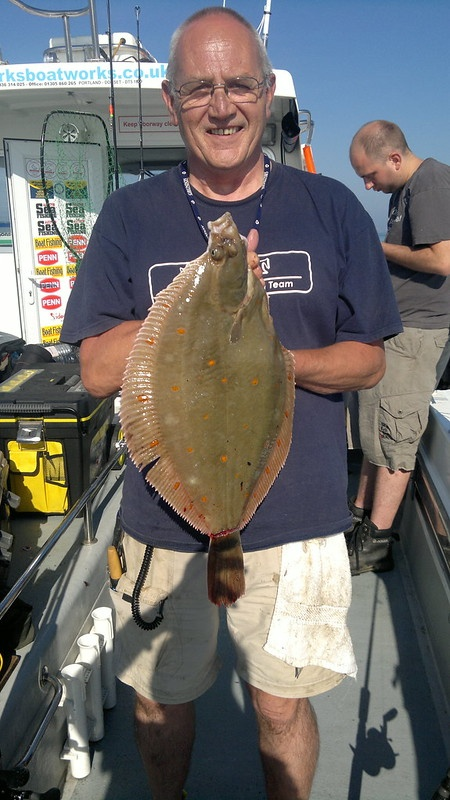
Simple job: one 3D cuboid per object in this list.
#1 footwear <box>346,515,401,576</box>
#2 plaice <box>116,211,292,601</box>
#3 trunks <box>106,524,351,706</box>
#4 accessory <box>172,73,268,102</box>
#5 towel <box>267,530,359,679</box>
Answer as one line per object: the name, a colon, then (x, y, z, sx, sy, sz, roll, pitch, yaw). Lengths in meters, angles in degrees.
footwear: (0.753, 0.788, 3.373, 0.369, 0.303, 0.154, 0, 21, 9)
plaice: (-0.028, 0.051, 1.437, 0.431, 0.942, 0.145, -6, 20, -9)
trunks: (-0.018, 0.688, 1.898, 0.756, 0.481, 0.686, 0, 56, 3)
accessory: (-0.014, -0.809, 1.574, 0.234, 0.058, 0.092, -4, 22, -4)
towel: (0.252, 0.587, 1.723, 0.233, 0.418, 0.101, 1, -4, -13)
